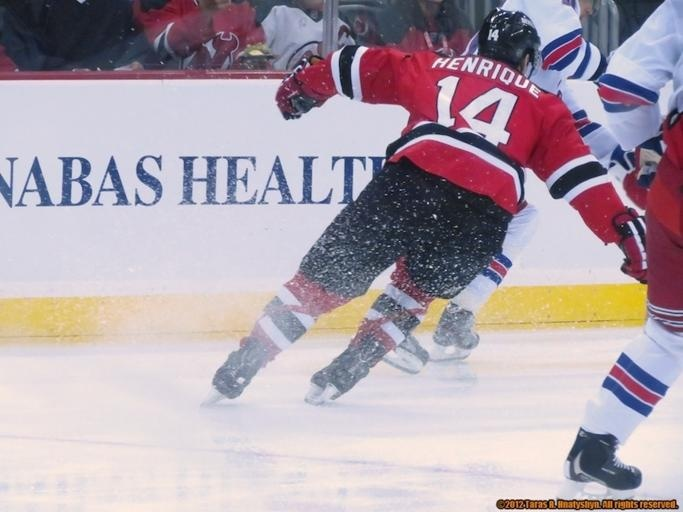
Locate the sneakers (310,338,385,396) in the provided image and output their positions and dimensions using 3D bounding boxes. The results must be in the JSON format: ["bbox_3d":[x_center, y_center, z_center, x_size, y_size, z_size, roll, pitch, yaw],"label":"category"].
[{"bbox_3d":[0.029,0.487,5.536,0.202,0.337,0.090,48,-2,2],"label":"sneakers"}]

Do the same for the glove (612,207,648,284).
[{"bbox_3d":[1.184,-0.041,5.197,0.120,0.241,0.256,-10,27,-18],"label":"glove"}]

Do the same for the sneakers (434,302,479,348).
[{"bbox_3d":[0.563,0.347,6.185,0.279,0.250,0.149,2,2,-5],"label":"sneakers"}]

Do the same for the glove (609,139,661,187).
[{"bbox_3d":[1.284,-0.372,5.252,0.083,0.184,0.199,13,7,-39],"label":"glove"}]

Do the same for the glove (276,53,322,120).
[{"bbox_3d":[-0.178,-0.749,5.710,0.113,0.267,0.265,41,34,-8],"label":"glove"}]

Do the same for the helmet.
[{"bbox_3d":[0.710,-0.908,5.424,0.262,0.258,0.242,15,22,13],"label":"helmet"}]
